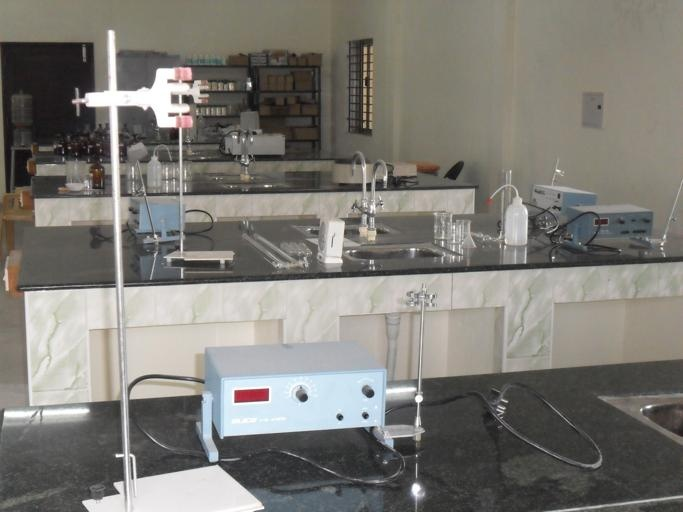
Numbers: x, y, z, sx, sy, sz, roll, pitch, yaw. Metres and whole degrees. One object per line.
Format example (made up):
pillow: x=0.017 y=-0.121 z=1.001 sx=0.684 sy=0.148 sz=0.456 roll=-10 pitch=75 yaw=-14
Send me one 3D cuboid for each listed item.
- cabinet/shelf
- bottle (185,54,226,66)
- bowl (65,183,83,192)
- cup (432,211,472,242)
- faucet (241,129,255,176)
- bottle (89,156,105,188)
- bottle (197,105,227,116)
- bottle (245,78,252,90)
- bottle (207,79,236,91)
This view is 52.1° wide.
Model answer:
cabinet/shelf: x=-1.191 y=-2.296 z=10.686 sx=1.891 sy=1.176 sz=0.688 roll=-3 pitch=11 yaw=-10
bottle: x=-2.022 y=-2.863 z=10.221 sx=0.562 sy=0.157 sz=0.191 roll=-2 pitch=11 yaw=-3
bowl: x=-1.979 y=-0.517 z=5.169 sx=0.128 sy=0.056 sz=0.154 roll=-4 pitch=12 yaw=-15
cup: x=0.595 y=-0.162 z=3.816 sx=0.215 sy=0.155 sz=0.132 roll=2 pitch=10 yaw=0
faucet: x=-0.907 y=-1.005 z=6.789 sx=0.151 sy=0.591 sz=0.239 roll=-2 pitch=15 yaw=-9
bottle: x=-1.827 y=-0.607 z=5.225 sx=0.101 sy=0.193 sz=0.197 roll=-5 pitch=12 yaw=-20
bottle: x=-1.924 y=-2.166 z=10.371 sx=0.477 sy=0.150 sz=0.231 roll=-6 pitch=12 yaw=-24
bottle: x=-1.372 y=-2.571 z=10.422 sx=0.112 sy=0.205 sz=0.345 roll=-2 pitch=11 yaw=-6
bottle: x=-1.781 y=-2.528 z=10.357 sx=0.430 sy=0.149 sz=0.113 roll=-4 pitch=11 yaw=-13
